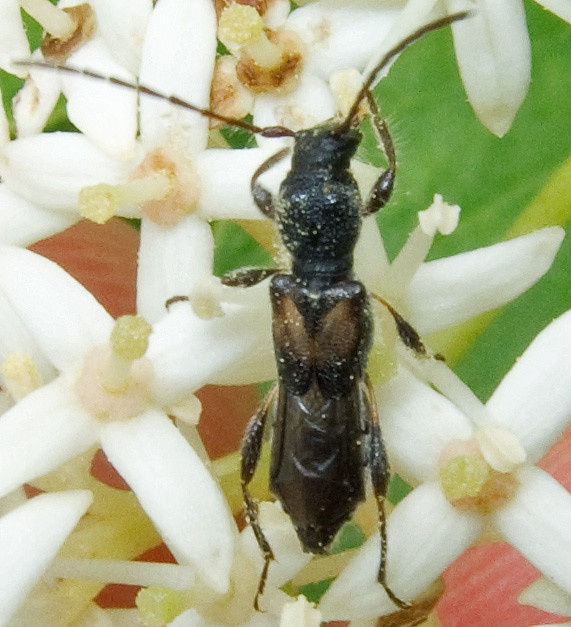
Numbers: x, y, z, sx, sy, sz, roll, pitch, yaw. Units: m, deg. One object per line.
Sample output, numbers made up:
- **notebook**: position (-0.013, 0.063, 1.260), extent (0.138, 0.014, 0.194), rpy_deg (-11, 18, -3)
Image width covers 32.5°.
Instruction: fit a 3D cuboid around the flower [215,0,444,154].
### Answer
- **flower**: position (0.084, -0.270, 1.199), extent (0.420, 0.176, 0.092), rpy_deg (4, 4, 25)
